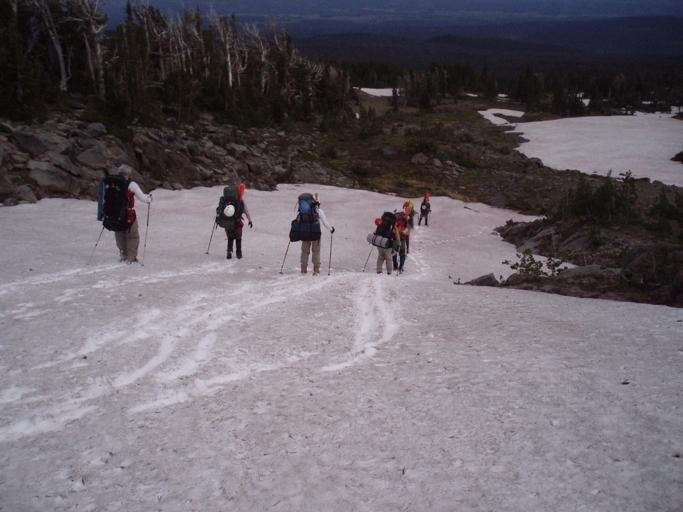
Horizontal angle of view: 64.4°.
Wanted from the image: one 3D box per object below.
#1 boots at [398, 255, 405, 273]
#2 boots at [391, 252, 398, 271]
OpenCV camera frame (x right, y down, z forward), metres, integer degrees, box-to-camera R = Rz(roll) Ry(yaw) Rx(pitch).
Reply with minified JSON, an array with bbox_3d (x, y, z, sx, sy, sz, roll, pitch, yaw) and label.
[{"bbox_3d":[1.920,0.253,17.695,0.294,0.557,0.157,-3,-3,30],"label":"boots"},{"bbox_3d":[1.761,0.199,17.957,0.160,0.506,0.371,0,-6,4],"label":"boots"}]
